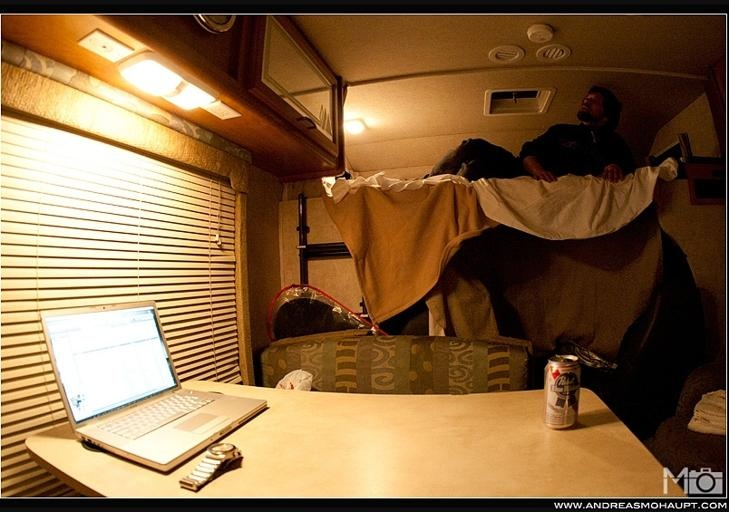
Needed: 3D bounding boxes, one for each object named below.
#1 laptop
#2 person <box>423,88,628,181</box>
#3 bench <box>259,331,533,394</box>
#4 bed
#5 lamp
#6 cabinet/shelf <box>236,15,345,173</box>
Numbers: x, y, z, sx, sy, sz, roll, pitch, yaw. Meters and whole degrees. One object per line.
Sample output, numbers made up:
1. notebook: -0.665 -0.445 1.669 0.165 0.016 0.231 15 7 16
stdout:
1. laptop: -0.844 0.442 1.898 0.702 0.427 0.528 5 -4 34
2. person: 0.997 -0.675 3.022 1.244 0.632 0.591 0 22 12
3. bench: 0.174 0.652 2.539 1.118 0.376 0.338 0 -46 -1
4. bed: 1.214 -0.498 2.823 1.528 0.452 0.442 0 -3 -2
5. lamp: -0.750 -0.672 1.947 0.182 0.103 0.355 -3 -5 36
6. cabinet/shelf: -0.374 -0.816 2.442 0.298 0.384 0.721 -6 -19 15
